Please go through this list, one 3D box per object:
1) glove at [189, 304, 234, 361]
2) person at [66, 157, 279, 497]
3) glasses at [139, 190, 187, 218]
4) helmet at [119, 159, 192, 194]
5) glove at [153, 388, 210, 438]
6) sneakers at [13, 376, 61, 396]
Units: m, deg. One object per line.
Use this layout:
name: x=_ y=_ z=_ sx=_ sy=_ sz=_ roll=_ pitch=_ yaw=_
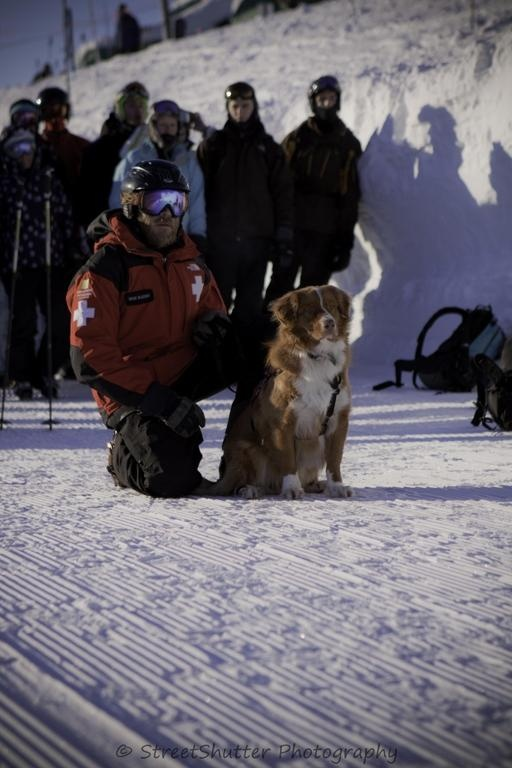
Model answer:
glove: x=-0.150 y=-0.214 z=3.075 sx=0.187 sy=0.133 sz=0.179 roll=-9 pitch=25 yaw=10
person: x=-0.335 y=-0.215 z=2.886 sx=0.714 sy=1.243 sz=0.519 roll=-3 pitch=7 yaw=-20
glasses: x=-0.318 y=-0.660 z=2.822 sx=0.079 sy=0.095 sz=0.210 roll=4 pitch=8 yaw=32
helmet: x=-0.378 y=-0.764 z=2.835 sx=0.213 sy=0.143 sz=0.199 roll=1 pitch=7 yaw=12
glove: x=-0.262 y=0.095 z=2.703 sx=0.084 sy=0.183 sz=0.145 roll=-24 pitch=28 yaw=40
sneakers: x=-1.597 y=0.010 z=5.547 sx=0.362 sy=0.101 sz=0.135 roll=-2 pitch=9 yaw=-6
